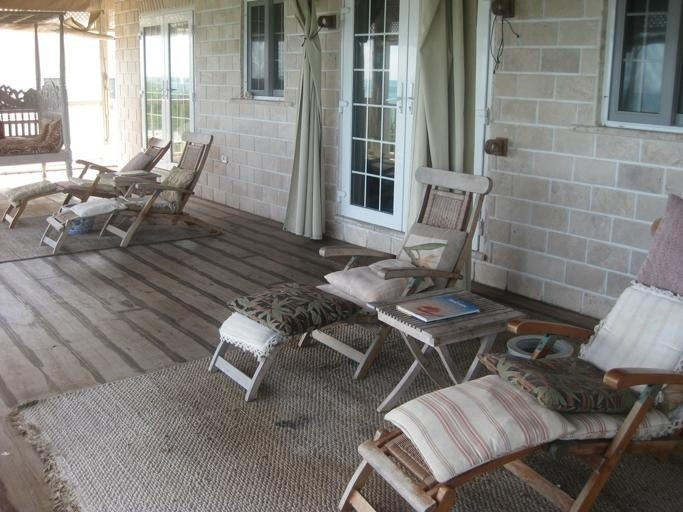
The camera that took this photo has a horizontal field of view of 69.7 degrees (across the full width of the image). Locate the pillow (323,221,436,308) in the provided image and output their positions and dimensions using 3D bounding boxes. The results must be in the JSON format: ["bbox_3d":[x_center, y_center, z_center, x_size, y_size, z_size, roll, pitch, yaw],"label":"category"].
[{"bbox_3d":[0.349,0.073,3.418,0.751,0.245,0.467,-12,18,-41],"label":"pillow"}]

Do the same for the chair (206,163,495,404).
[{"bbox_3d":[0.092,0.104,3.428,1.877,1.092,0.802,-13,22,-25],"label":"chair"}]

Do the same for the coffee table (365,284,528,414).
[{"bbox_3d":[0.650,0.531,2.870,0.861,0.707,0.686,-12,23,-29],"label":"coffee table"}]

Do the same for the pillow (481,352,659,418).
[{"bbox_3d":[0.965,0.548,2.184,0.617,0.105,0.508,1,15,-12],"label":"pillow"}]

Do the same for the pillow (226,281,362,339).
[{"bbox_3d":[-0.344,0.246,2.995,0.457,0.124,0.498,12,16,41],"label":"pillow"}]
